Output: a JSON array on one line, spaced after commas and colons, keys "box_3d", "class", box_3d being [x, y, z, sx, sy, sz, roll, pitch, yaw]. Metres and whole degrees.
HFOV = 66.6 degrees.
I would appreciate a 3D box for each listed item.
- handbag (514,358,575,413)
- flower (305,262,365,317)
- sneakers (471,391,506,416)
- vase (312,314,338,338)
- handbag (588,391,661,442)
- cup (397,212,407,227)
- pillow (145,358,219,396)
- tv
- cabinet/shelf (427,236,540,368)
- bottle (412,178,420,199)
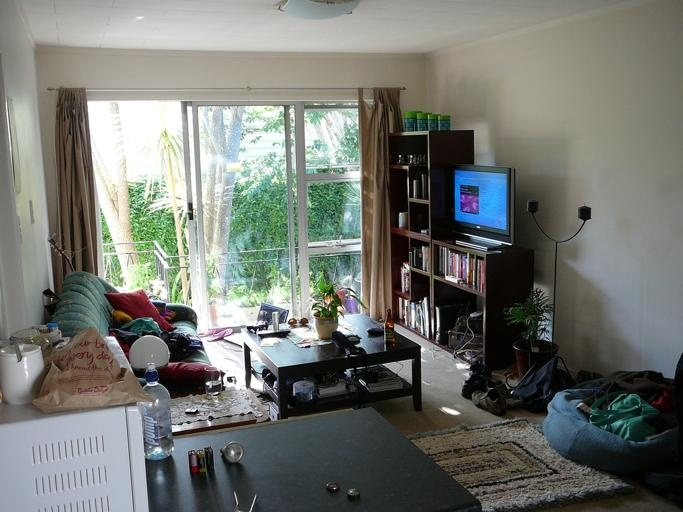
[{"box_3d": [1.509, 0.938, 3.922, 0.411, 0.398, 0.298, -3, 10, -12], "class": "handbag"}, {"box_3d": [-0.041, 0.342, 4.280, 0.515, 0.220, 0.442, 2, -11, 40], "class": "flower"}, {"box_3d": [1.121, 1.114, 3.945, 0.094, 0.099, 0.241, 2, 0, -19], "class": "sneakers"}, {"box_3d": [-0.123, 0.556, 4.160, 0.165, 0.128, 0.169, 1, 2, 2], "class": "vase"}, {"box_3d": [1.743, 0.972, 3.184, 0.294, 0.128, 0.228, -11, 10, -29], "class": "handbag"}, {"box_3d": [0.689, -0.407, 5.785, 0.132, 0.158, 0.140, 0, 3, 0], "class": "cup"}, {"box_3d": [-1.047, 0.725, 3.448, 0.377, 0.143, 0.383, 1, 7, -10], "class": "pillow"}, {"box_3d": [1.293, -0.447, 4.740, 0.161, 0.689, 0.794, -2, 6, -21], "class": "tv"}, {"box_3d": [1.299, 0.447, 5.021, 0.500, 1.015, 1.054, 0, 6, -15], "class": "cabinet/shelf"}, {"box_3d": [0.782, -0.696, 5.379, 0.055, 0.192, 0.060, -1, 10, 0], "class": "bottle"}]
